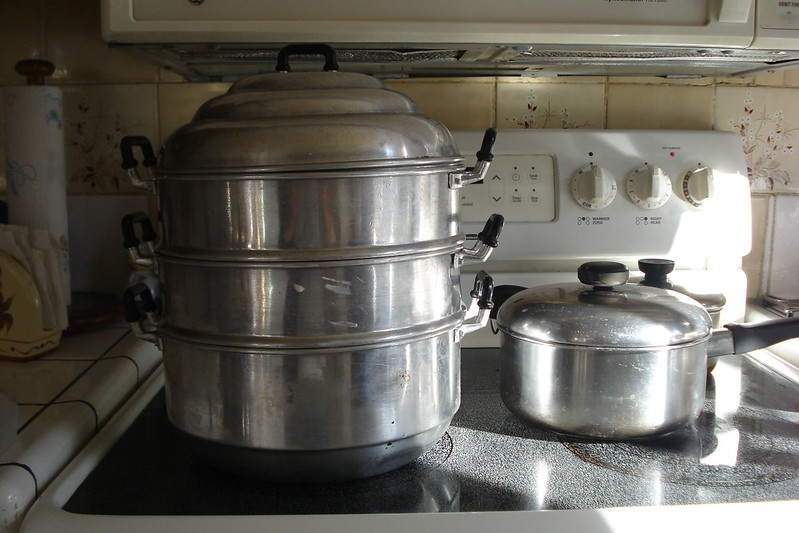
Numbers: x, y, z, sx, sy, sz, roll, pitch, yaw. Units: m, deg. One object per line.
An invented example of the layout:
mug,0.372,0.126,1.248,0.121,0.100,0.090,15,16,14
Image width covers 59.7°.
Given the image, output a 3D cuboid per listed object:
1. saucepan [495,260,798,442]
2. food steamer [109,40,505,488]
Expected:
saucepan,0.325,0.117,0.999,0.463,0.149,0.235,1,3,2
food steamer,-0.093,-0.004,1.058,0.665,0.533,0.455,0,6,3
